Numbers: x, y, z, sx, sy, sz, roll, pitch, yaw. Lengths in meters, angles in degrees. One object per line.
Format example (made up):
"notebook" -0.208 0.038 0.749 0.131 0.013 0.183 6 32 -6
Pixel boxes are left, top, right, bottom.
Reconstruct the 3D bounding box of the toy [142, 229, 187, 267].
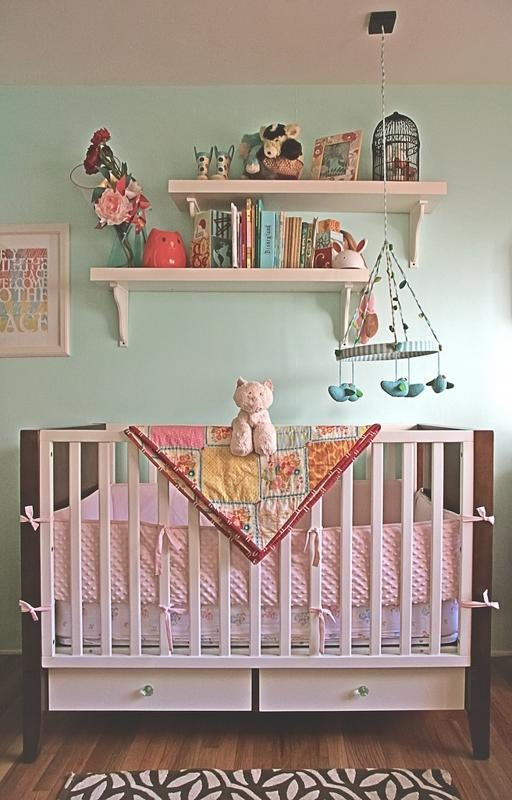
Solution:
"toy" -0.293 -0.481 2.481 0.131 0.134 0.123 0 5 -8

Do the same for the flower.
"flower" -0.456 -0.727 2.544 0.213 0.443 0.215 25 34 33

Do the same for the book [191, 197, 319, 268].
"book" -0.008 -0.538 2.501 0.413 0.226 0.207 -1 8 -6

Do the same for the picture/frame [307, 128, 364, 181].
"picture/frame" 0.268 -0.807 2.548 0.212 0.217 0.022 -7 -13 42

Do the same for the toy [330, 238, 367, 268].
"toy" 0.294 -0.466 2.456 0.096 0.099 0.103 3 6 10

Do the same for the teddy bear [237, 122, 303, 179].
"teddy bear" 0.054 -0.799 2.496 0.145 0.155 0.215 0 5 -7

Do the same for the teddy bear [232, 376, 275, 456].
"teddy bear" -0.006 0.042 2.014 0.118 0.199 0.171 0 8 1
